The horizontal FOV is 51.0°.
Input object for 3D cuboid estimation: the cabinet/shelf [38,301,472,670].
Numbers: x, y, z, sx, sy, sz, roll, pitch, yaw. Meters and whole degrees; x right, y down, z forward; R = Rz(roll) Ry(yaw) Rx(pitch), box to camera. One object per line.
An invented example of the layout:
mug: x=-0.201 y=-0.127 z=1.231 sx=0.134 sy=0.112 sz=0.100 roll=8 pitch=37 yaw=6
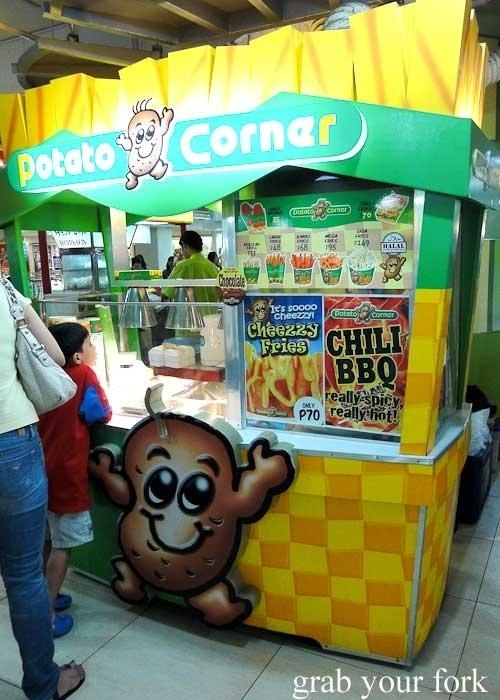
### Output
cabinet/shelf: x=0.001 y=0.405 z=2.380 sx=1.659 sy=1.342 sz=0.922 roll=6 pitch=10 yaw=20
